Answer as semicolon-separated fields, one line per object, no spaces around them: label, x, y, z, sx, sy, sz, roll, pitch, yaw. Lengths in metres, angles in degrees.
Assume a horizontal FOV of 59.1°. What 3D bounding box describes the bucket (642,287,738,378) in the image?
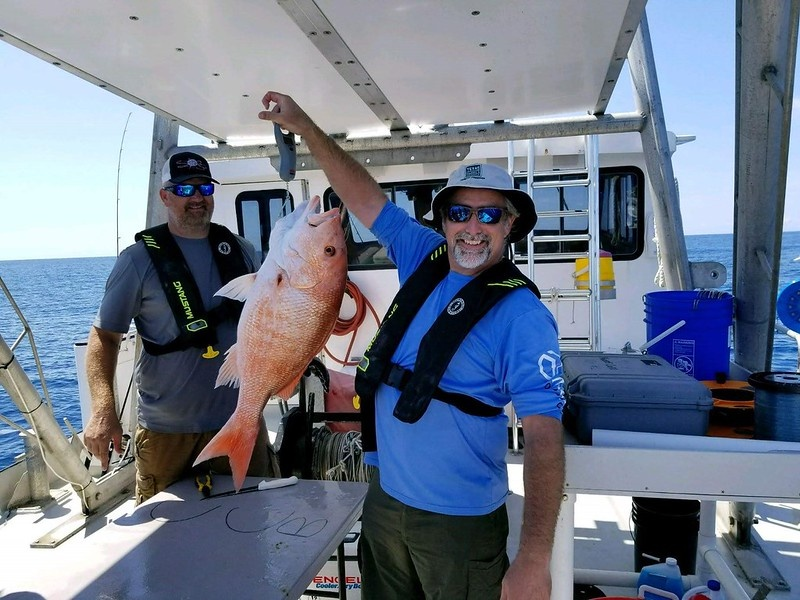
bucket;1.773;0.173;4.539;0.519;0.588;0.550;-1;2;0

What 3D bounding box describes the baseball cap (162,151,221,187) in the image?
baseball cap;-1.254;-0.741;4.129;0.197;0.158;0.274;-8;4;-43

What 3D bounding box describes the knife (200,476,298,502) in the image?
knife;-0.842;1.050;3.899;0.640;0.046;0.132;-7;13;-17

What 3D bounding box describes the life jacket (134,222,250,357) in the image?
life jacket;-1.229;-0.037;4.113;0.496;0.678;0.333;-26;2;-32

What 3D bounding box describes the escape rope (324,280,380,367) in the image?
escape rope;-0.518;0.255;8.024;0.621;0.977;0.197;7;10;0

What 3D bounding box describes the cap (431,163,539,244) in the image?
cap;0.468;-0.527;3.617;0.410;0.236;0.415;13;-28;-4
